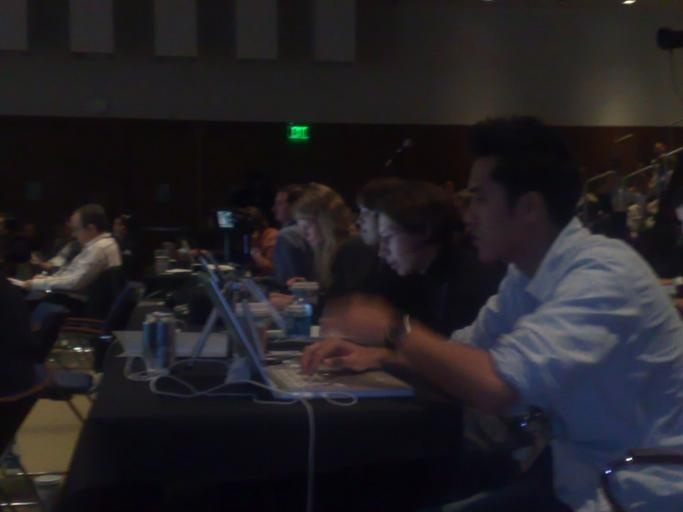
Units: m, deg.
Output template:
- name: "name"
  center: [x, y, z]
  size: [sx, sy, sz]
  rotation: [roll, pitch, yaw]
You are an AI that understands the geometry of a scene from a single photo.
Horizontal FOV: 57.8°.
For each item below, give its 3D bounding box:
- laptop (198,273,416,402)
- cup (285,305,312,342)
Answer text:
- name: "laptop"
  center: [-0.086, 0.294, 1.864]
  size: [0.423, 0.281, 0.466]
  rotation: [-3, 0, -16]
- name: "cup"
  center: [-0.153, 0.235, 2.260]
  size: [0.109, 0.120, 0.108]
  rotation: [0, -7, 0]
